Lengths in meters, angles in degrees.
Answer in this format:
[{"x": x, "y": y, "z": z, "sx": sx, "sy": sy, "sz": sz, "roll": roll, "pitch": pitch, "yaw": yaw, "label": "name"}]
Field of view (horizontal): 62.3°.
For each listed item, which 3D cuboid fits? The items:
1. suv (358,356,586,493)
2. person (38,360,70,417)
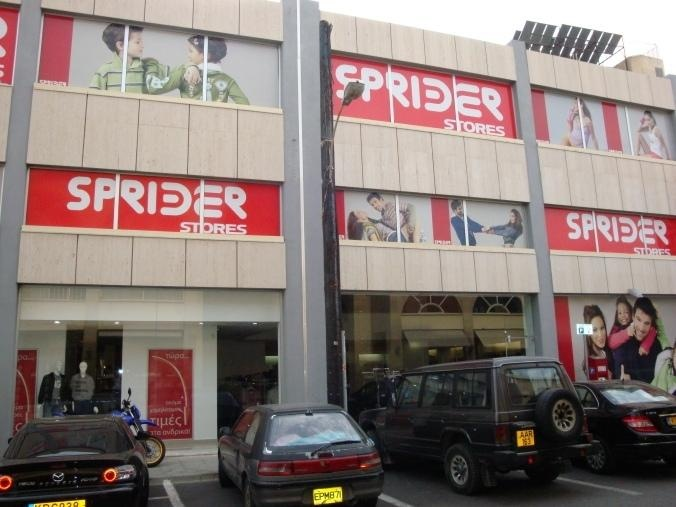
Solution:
[{"x": 2.508, "y": 3.223, "z": 11.406, "sx": 2.018, "sy": 2.010, "sz": 4.167, "roll": 5, "pitch": -9, "yaw": -25, "label": "suv"}, {"x": -6.972, "y": 3.560, "z": 13.749, "sx": 0.666, "sy": 1.769, "sz": 0.422, "roll": 5, "pitch": 5, "yaw": -35, "label": "person"}]
